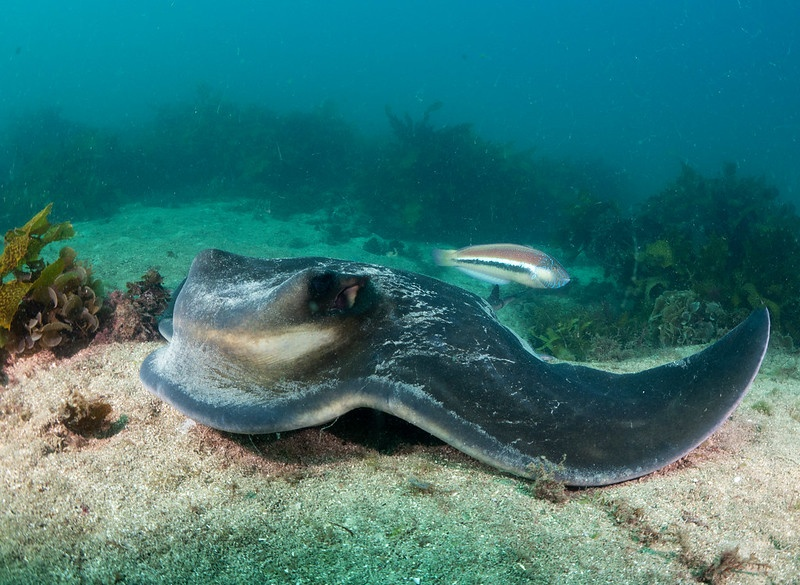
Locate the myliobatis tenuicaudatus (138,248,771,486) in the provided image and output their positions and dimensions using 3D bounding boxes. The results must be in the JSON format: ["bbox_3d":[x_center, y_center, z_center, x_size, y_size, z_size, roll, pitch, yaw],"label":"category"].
[{"bbox_3d":[0.290,0.715,7.787,5.959,1.438,1.496,9,30,3],"label":"myliobatis tenuicaudatus"}]

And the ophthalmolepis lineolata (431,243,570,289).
[{"bbox_3d":[1.496,-0.423,10.973,1.962,0.794,0.422,8,38,3],"label":"ophthalmolepis lineolata"}]
